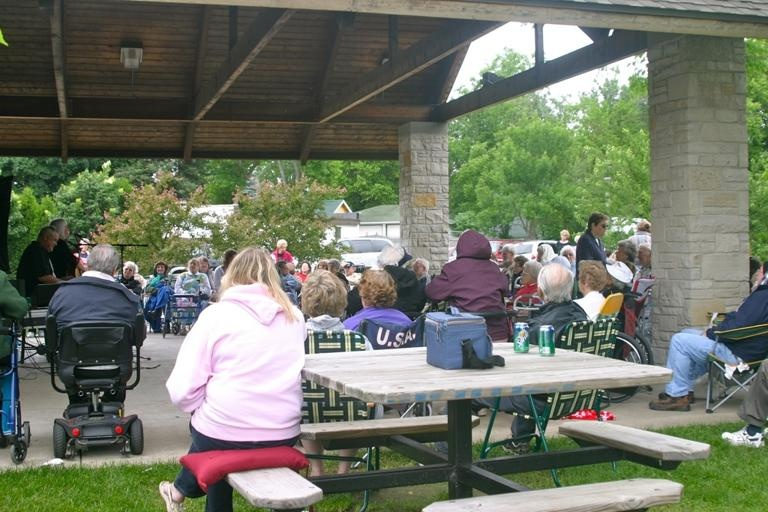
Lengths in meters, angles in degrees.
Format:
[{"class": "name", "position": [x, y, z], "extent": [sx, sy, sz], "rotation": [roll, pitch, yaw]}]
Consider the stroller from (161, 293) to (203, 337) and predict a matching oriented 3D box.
[{"class": "stroller", "position": [-3.660, 1.104, 18.659], "extent": [0.777, 1.093, 1.275], "rotation": [1, 6, -9]}]

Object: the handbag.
[{"class": "handbag", "position": [0.691, 0.793, 9.542], "extent": [0.584, 0.476, 0.443], "rotation": [-2, 4, -19]}]

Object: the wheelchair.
[{"class": "wheelchair", "position": [2.763, 0.789, 12.461], "extent": [1.247, 2.011, 1.343], "rotation": [0, -1, -24]}]

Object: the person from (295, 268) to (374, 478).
[{"class": "person", "position": [-0.265, 1.096, 10.458], "extent": [1.294, 1.722, 1.062], "rotation": [1, -2, -21]}]
